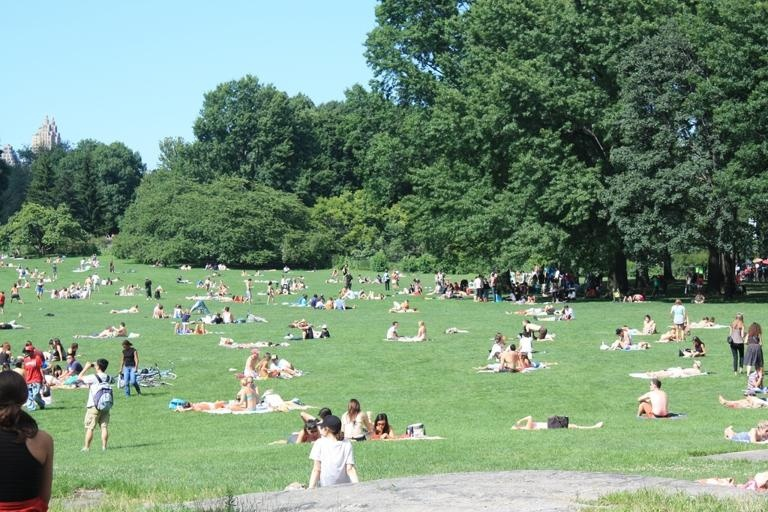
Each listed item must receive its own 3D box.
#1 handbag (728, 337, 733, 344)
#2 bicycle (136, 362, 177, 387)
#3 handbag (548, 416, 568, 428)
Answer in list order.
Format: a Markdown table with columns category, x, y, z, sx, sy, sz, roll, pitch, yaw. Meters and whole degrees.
| category | x | y | z | sx | sy | sz | roll | pitch | yaw |
| --- | --- | --- | --- | --- | --- | --- | --- | --- | --- |
| handbag | 22.860 | 5.621 | 100.402 | 0.198 | 0.467 | 0.455 | -23 | 18 | -19 |
| bicycle | -15.287 | 8.089 | 101.610 | 2.218 | 1.321 | 1.269 | -1 | 3 | -19 |
| handbag | 10.716 | 10.359 | 93.583 | 0.847 | 0.508 | 0.839 | 0 | 0 | 4 |
